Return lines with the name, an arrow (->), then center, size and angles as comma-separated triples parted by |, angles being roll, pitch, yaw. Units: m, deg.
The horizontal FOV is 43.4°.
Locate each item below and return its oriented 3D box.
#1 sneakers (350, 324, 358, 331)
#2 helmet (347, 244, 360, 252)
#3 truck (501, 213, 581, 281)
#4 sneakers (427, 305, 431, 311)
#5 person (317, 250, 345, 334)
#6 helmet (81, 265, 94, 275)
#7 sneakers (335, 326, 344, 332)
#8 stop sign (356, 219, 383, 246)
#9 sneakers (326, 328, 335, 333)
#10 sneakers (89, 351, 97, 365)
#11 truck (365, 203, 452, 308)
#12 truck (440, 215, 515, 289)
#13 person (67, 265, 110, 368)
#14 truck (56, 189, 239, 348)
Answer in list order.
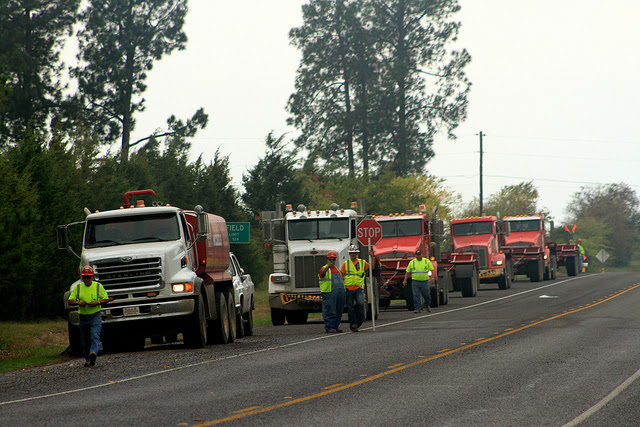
sneakers -> 1.086, 3.529, 25.184 | 0.161, 0.204, 0.475 | 0, -7, 1
helmet -> 1.076, 1.094, 25.438 | 0.260, 0.261, 0.545 | 0, -7, -5
truck -> 13.749, 2.184, 50.406 | 3.087, 3.625, 7.023 | -4, -10, 19
sneakers -> 4.234, 3.642, 30.992 | 0.135, 0.183, 0.402 | -3, -9, 4
person -> 0.381, 2.441, 25.250 | 0.853, 2.523, 0.926 | 1, -7, -17
helmet -> -6.088, 1.490, 21.048 | 0.269, 0.242, 0.384 | 2, -8, -26
sneakers -> 0.621, 3.663, 25.662 | 0.135, 0.183, 0.392 | 0, -8, 0
stop sign -> 1.626, 0.604, 27.029 | 0.865, 1.011, 0.181 | 4, 20, 10
sneakers -> 0.361, 3.668, 25.345 | 0.113, 0.152, 0.323 | 3, -10, -27
sneakers -> -5.837, 3.698, 20.654 | 0.134, 0.401, 0.156 | 0, 0, 8
truck -> 3.781, 1.561, 33.513 | 2.275, 3.022, 4.844 | -2, -9, 13
truck -> 7.827, 1.841, 39.989 | 2.311, 2.883, 5.266 | -3, -7, 13
person -> -6.044, 2.656, 21.002 | 0.948, 2.555, 0.707 | 0, -6, -8
truck -> -4.788, 1.644, 22.681 | 2.893, 3.442, 5.808 | -3, -11, 5
